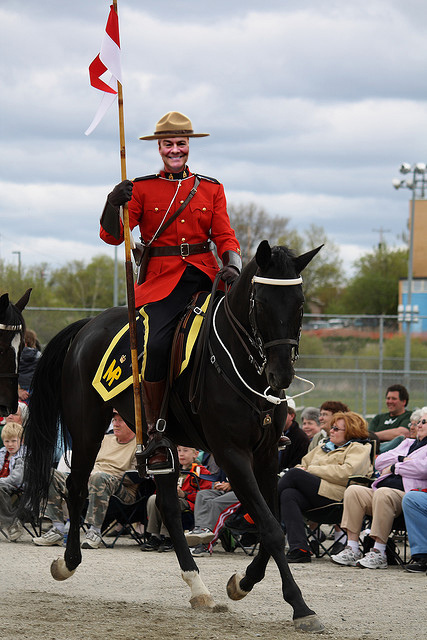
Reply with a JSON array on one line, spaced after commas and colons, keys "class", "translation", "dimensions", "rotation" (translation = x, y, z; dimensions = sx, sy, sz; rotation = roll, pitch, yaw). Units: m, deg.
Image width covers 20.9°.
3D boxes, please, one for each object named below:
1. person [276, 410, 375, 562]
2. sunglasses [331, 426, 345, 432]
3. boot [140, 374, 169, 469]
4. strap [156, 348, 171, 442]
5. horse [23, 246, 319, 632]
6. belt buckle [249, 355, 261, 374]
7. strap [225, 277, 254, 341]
[{"class": "person", "translation": [0.939, 1.447, 9.731], "dimensions": [0.902, 0.590, 1.445], "rotation": [9, 34, 3]}, {"class": "sunglasses", "translation": [1.062, 0.972, 10.120], "dimensions": [0.065, 0.035, 0.135], "rotation": [2, -1, -38]}, {"class": "boot", "translation": [-0.372, 0.642, 7.200], "dimensions": [0.184, 0.458, 0.180], "rotation": [1, -1, -3]}, {"class": "strap", "translation": [-0.284, 0.471, 7.173], "dimensions": [0.063, 0.563, 0.084], "rotation": [14, -13, -30]}, {"class": "horse", "translation": [-0.338, 0.803, 7.827], "dimensions": [0.872, 2.385, 4.119], "rotation": [1, 0, -31]}, {"class": "belt buckle", "translation": [0.233, 0.261, 6.727], "dimensions": [0.038, 0.128, 0.043], "rotation": [-16, -16, -29]}, {"class": "strap", "translation": [0.117, -0.081, 6.948], "dimensions": [0.048, 0.527, 0.078], "rotation": [-18, -30, 1]}]
